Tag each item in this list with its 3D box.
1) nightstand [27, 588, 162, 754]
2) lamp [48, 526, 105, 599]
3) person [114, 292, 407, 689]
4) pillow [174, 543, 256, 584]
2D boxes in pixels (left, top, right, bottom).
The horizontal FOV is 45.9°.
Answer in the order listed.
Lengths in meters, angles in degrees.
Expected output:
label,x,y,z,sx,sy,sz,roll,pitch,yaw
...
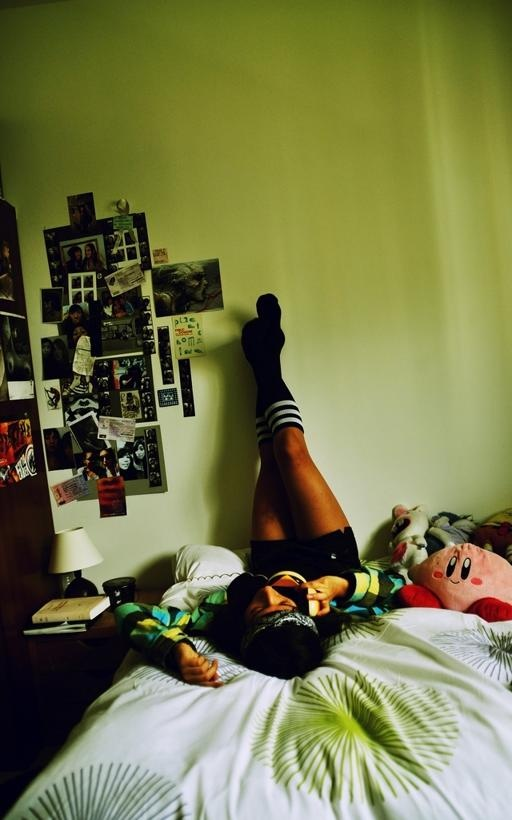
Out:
label,x,y,z,sx,sy,sz,roll,pitch,yaw
nightstand,-0.479,0.803,2.065,0.485,0.505,0.349,-2,-4,-7
lamp,-0.616,0.554,2.083,0.169,0.276,0.169,-9,-12,-28
person,0.059,0.216,1.735,0.528,0.910,0.285,-4,-20,5
pillow,-0.145,0.491,1.936,0.149,0.054,0.171,1,2,35
